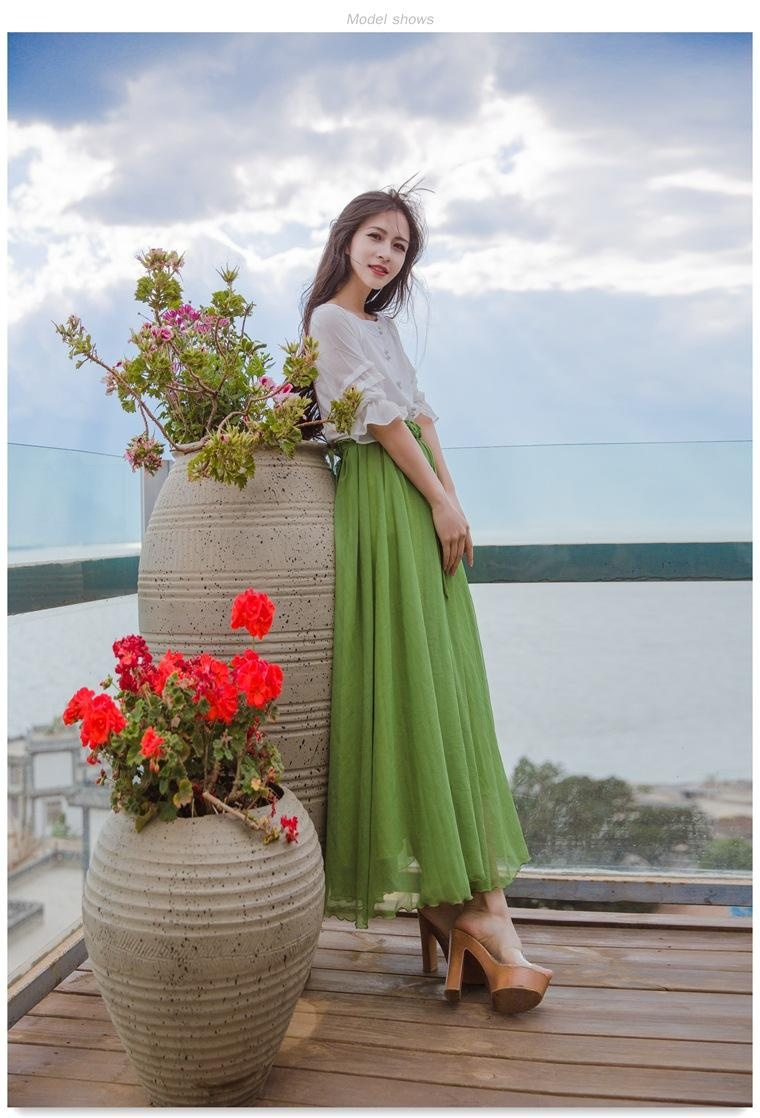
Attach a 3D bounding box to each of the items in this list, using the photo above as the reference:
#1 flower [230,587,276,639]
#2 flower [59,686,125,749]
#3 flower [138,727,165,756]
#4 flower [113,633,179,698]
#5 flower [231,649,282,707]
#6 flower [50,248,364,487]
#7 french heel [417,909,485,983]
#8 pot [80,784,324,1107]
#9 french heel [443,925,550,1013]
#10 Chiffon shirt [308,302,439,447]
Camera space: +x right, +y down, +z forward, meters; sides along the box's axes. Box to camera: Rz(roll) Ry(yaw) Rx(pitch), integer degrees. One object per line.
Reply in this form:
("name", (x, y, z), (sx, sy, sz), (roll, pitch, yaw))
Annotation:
("flower", (-0.195, 0.084, 1.529), (0.078, 0.076, 0.082), (-2, -30, 3))
("flower", (-0.416, 0.231, 1.419), (0.086, 0.088, 0.056), (-20, -10, -1))
("flower", (-0.315, 0.256, 1.340), (0.031, 0.046, 0.034), (-1, 4, -14))
("flower", (-0.355, 0.165, 1.473), (0.085, 0.076, 0.194), (-2, 4, -27))
("flower", (-0.197, 0.196, 1.498), (0.086, 0.083, 0.053), (26, -49, -30))
("flower", (-0.275, -0.327, 1.737), (0.455, 0.405, 0.398), (2, 4, 28))
("french heel", (0.137, 0.742, 1.875), (0.068, 0.084, 0.216), (-2, -4, 10))
("pot", (-0.250, 0.588, 1.493), (0.393, 0.413, 0.383), (-1, -7, 0))
("french heel", (0.189, 0.723, 1.736), (0.187, 0.087, 0.103), (21, -14, 11))
("Chiffon shirt", (-0.017, -0.368, 1.916), (0.183, 0.236, 0.254), (0, 12, 34))
